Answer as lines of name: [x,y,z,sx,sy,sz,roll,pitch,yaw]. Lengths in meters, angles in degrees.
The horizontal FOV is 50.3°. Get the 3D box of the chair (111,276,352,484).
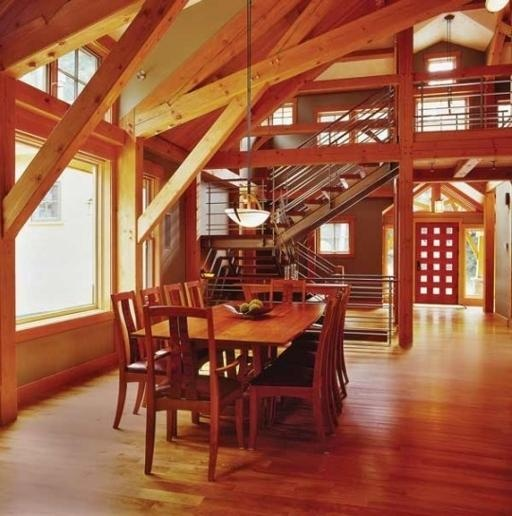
chair: [-0.140,0.798,4.357,1.559,1.067,2.247,0,2,15]
